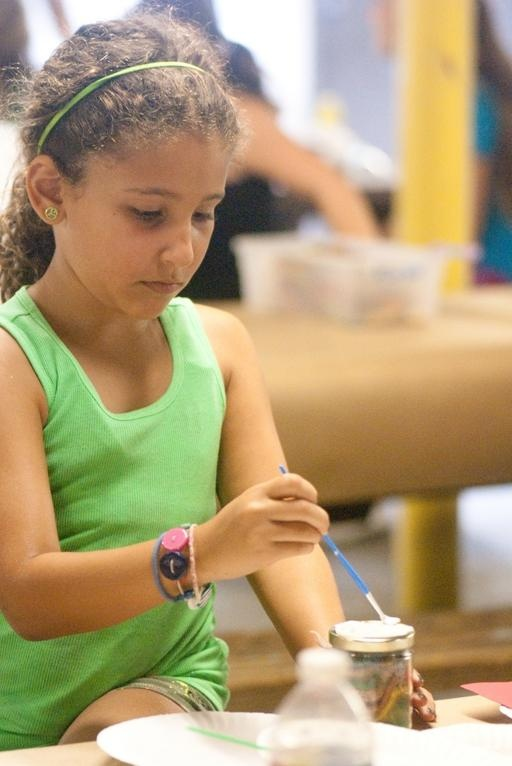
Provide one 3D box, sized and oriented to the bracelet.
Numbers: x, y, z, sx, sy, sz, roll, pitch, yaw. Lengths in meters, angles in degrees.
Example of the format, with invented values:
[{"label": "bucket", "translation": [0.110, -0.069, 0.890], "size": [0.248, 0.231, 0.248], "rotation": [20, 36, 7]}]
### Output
[{"label": "bracelet", "translation": [-0.068, 0.169, 0.773], "size": [0.067, 0.065, 0.025], "rotation": [-6, 4, -25]}]
